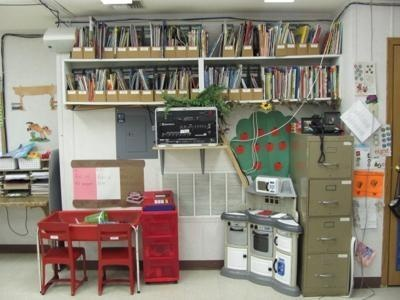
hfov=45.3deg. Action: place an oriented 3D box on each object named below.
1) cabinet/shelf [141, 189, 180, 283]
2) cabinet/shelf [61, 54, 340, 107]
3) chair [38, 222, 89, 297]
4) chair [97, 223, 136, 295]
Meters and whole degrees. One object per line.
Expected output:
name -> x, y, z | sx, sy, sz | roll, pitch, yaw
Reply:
cabinet/shelf -> -0.464, 1.119, 6.414 | 0.707, 1.152, 0.701 | -3, 0, -17
cabinet/shelf -> 0.013, -0.773, 6.056 | 3.414, 0.755, 0.500 | -1, -6, 1
chair -> -1.797, 1.345, 6.287 | 0.588, 0.925, 0.737 | -1, 3, -14
chair -> -1.082, 1.353, 6.239 | 0.484, 0.910, 0.568 | -1, 3, -8
